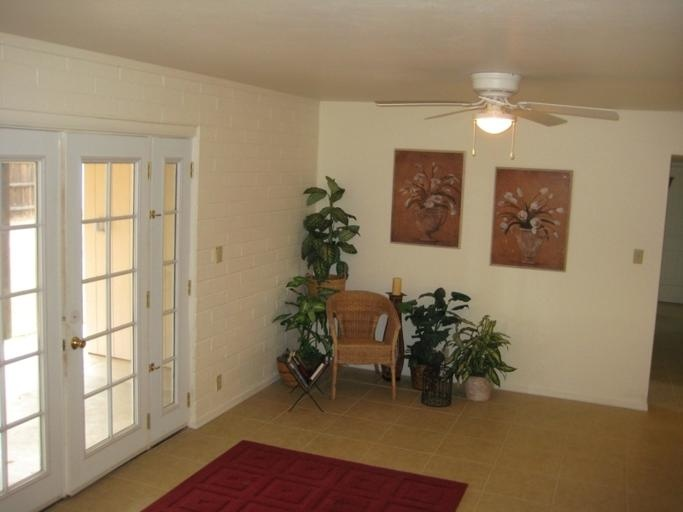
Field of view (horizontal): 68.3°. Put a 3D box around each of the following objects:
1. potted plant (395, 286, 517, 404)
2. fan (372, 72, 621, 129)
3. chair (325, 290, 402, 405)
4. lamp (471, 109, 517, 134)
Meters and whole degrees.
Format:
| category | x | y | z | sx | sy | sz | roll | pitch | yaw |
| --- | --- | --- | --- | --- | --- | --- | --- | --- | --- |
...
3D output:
| category | x | y | z | sx | sy | sz | roll | pitch | yaw |
| --- | --- | --- | --- | --- | --- | --- | --- | --- | --- |
| potted plant | 1.217 | 0.866 | 5.801 | 1.298 | 0.896 | 1.235 | -1 | 3 | -32 |
| fan | 1.198 | -1.140 | 3.809 | 1.099 | 0.419 | 1.493 | 2 | 9 | 2 |
| chair | 0.220 | 0.934 | 5.635 | 1.029 | 1.441 | 1.063 | 1 | -3 | -3 |
| lamp | 1.079 | -0.962 | 3.556 | 0.239 | 0.142 | 0.187 | 10 | 12 | 39 |
